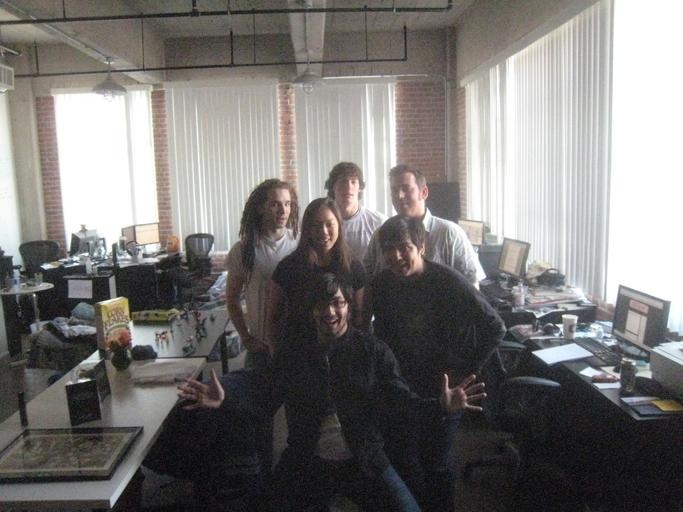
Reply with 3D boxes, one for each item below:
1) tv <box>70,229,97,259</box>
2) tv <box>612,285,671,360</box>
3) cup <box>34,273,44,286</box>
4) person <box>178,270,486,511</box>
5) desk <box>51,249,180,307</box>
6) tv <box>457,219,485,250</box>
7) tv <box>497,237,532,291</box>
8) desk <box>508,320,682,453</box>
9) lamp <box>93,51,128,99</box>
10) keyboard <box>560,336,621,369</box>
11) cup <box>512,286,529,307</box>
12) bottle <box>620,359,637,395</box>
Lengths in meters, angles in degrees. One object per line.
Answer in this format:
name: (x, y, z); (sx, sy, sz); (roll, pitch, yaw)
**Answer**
tv: (-3.850, -0.182, 8.078); (0.151, 0.403, 0.415); (11, 12, 33)
tv: (2.117, 0.481, 3.816); (0.175, 0.465, 0.494); (4, 4, -5)
cup: (-3.704, 0.275, 6.615); (0.134, 0.185, 0.123); (3, 1, 0)
person: (-0.020, 0.801, 3.158); (1.569, 1.467, 0.564); (-1, 2, 0)
desk: (-2.437, 0.301, 6.441); (1.647, 0.878, 1.148); (-1, 0, 1)
tv: (1.566, -0.241, 6.362); (0.237, 0.338, 0.369); (5, 6, -30)
tv: (1.720, 0.090, 5.408); (0.148, 0.380, 0.384); (15, 21, -18)
desk: (1.770, 0.920, 3.724); (0.309, 0.569, 0.938); (4, 6, 1)
lamp: (-3.129, -2.388, 7.206); (0.366, 0.594, 1.103); (-7, 9, -22)
keyboard: (1.842, 0.712, 3.988); (0.197, 0.037, 0.358); (-3, 12, -8)
cup: (1.644, 0.366, 4.988); (0.167, 0.215, 0.173); (-3, 6, 0)
bottle: (1.841, 0.771, 3.478); (0.084, 0.206, 0.093); (0, 9, 25)
